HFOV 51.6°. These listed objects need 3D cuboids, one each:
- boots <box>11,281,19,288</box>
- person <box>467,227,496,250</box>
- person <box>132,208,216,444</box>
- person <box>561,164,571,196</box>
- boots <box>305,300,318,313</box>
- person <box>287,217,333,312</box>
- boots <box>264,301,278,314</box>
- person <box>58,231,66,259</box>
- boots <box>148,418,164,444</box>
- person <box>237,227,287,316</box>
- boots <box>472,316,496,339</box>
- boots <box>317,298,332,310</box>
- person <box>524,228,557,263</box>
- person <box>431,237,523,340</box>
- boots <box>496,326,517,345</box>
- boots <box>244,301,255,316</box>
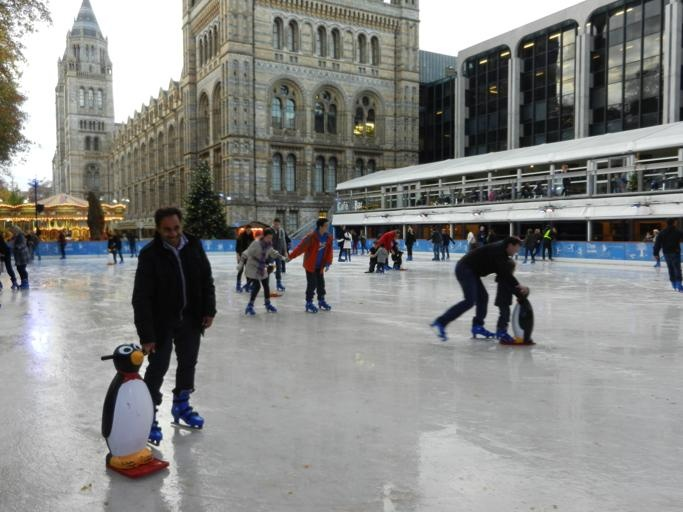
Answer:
[{"bbox_3d":[-9.454,0.815,20.431,0.174,0.233,0.123,-2,12,11],"label":"boots"},{"bbox_3d":[5.808,-0.762,29.308,0.589,0.695,1.896,3,-37,-9],"label":"person"},{"bbox_3d":[-1.863,0.714,7.837,0.549,2.486,0.871,1,3,43],"label":"person"},{"bbox_3d":[10.326,-3.467,32.466,0.322,1.372,0.777,0,2,17],"label":"person"},{"bbox_3d":[-0.622,1.065,14.799,0.159,0.216,0.290,0,-6,-35],"label":"boots"},{"bbox_3d":[-0.592,0.167,14.890,0.778,1.996,1.556,-1,2,-2],"label":"person"},{"bbox_3d":[-1.500,1.066,14.836,0.286,0.301,0.147,-6,15,-14],"label":"boots"},{"bbox_3d":[-15.178,-0.620,38.405,0.415,1.458,1.810,-2,2,-22],"label":"person"},{"bbox_3d":[-2.028,1.917,7.749,0.128,0.253,0.332,-1,2,-2],"label":"boots"},{"bbox_3d":[-1.709,0.291,14.897,0.689,1.772,1.210,-1,2,-7],"label":"person"},{"bbox_3d":[2.348,1.244,12.050,0.561,0.421,0.202,-1,4,-9],"label":"boots"},{"bbox_3d":[-0.377,1.021,15.161,0.301,0.311,0.162,-7,16,-11],"label":"boots"},{"bbox_3d":[9.098,-0.458,32.096,1.394,1.868,0.802,5,11,34],"label":"person"},{"bbox_3d":[2.287,0.541,11.568,1.441,1.681,0.729,-1,2,15],"label":"person"},{"bbox_3d":[2.665,1.303,11.505,0.338,0.356,0.160,-3,4,9],"label":"boots"},{"bbox_3d":[-1.905,1.074,14.479,0.282,0.301,0.162,2,8,-7],"label":"boots"}]
